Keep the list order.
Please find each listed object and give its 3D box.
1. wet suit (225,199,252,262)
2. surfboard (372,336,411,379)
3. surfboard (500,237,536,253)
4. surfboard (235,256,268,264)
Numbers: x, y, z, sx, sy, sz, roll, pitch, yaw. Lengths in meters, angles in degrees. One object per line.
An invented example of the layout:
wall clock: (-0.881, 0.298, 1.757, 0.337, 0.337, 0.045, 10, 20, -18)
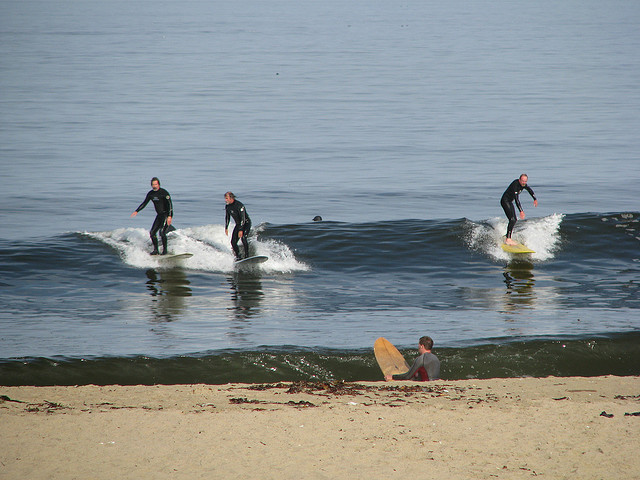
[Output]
wet suit: (-4.642, -0.493, 72.692, 1.411, 3.583, 1.101, 0, 10, -3)
surfboard: (3.581, 5.896, 64.755, 1.309, 3.219, 0.433, -16, 40, 9)
surfboard: (11.352, 0.393, 74.307, 1.436, 0.800, 1.996, -2, 8, -20)
surfboard: (-3.794, 1.200, 72.695, 2.036, 0.213, 0.489, -5, -33, 14)
